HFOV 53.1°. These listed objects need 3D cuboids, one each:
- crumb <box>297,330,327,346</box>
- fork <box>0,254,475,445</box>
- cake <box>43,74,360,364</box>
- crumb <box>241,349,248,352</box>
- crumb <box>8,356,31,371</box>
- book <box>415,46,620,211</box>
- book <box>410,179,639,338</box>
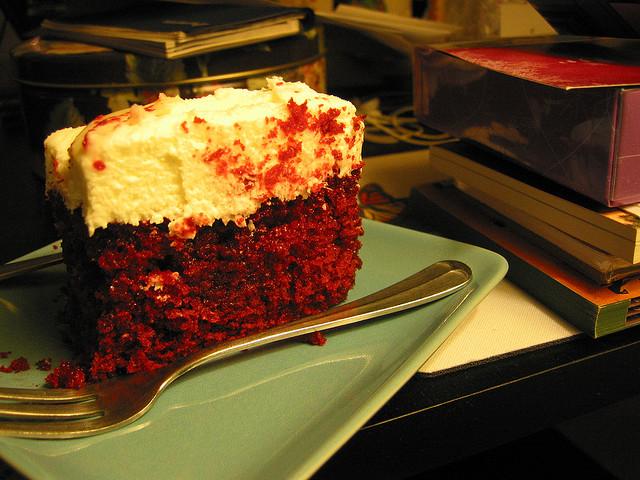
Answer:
[{"bbox_3d":[-0.009,0.116,0.754,0.022,0.006,0.022,12,18,39],"label":"crumb"},{"bbox_3d":[-0.093,0.128,0.721,0.569,0.059,0.073,-13,35,-19],"label":"fork"},{"bbox_3d":[-0.163,-0.026,0.850,0.255,0.289,0.441,10,22,42],"label":"cake"},{"bbox_3d":[-0.088,0.127,0.742,0.006,0.003,0.008,-2,-3,0],"label":"crumb"},{"bbox_3d":[-0.344,0.140,0.726,0.014,0.009,0.017,2,4,-5],"label":"crumb"},{"bbox_3d":[0.241,-0.115,0.848,0.261,0.071,0.228,6,23,-25],"label":"book"},{"bbox_3d":[0.262,0.003,0.842,0.149,0.034,0.261,-21,38,-29],"label":"book"}]
